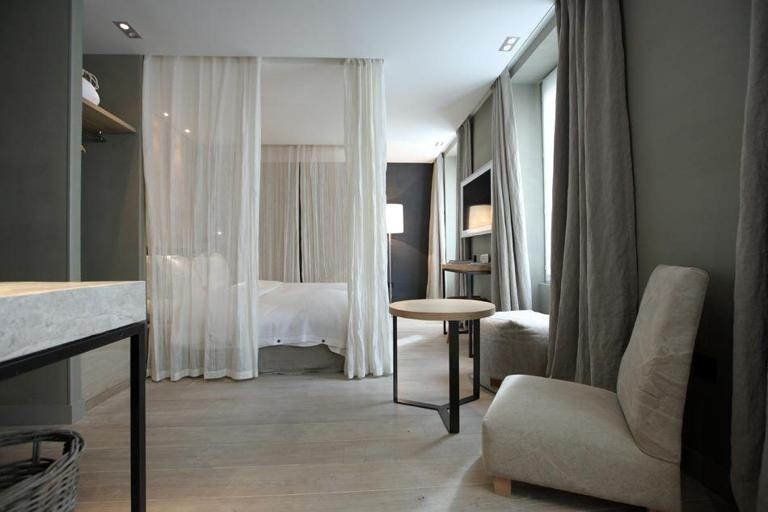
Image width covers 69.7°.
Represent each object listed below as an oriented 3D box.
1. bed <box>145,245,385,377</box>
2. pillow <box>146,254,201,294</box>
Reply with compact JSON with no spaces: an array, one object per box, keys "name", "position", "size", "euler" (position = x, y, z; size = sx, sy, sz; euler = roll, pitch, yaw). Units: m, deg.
[{"name":"bed","position":[-1.091,0.546,4.825],"size":[1.309,0.693,1.318],"euler":[-2,-1,-7]},{"name":"pillow","position":[-1.704,0.136,4.569],"size":[0.435,0.292,0.087],"euler":[-1,1,-12]}]
